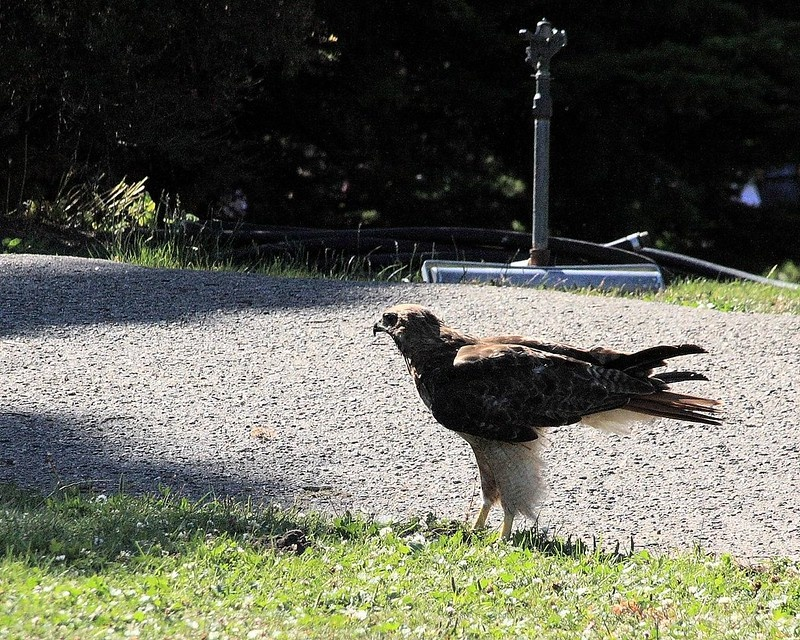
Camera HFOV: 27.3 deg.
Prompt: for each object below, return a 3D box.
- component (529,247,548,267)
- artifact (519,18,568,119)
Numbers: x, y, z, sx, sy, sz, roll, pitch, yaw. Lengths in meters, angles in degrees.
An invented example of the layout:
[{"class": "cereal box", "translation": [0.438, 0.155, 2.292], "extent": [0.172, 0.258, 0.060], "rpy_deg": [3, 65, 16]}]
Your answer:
[{"class": "component", "translation": [1.578, -0.721, 18.751], "extent": [0.187, 0.144, 0.191], "rpy_deg": [0, 5, 3]}, {"class": "artifact", "translation": [1.592, -2.864, 18.746], "extent": [0.488, 1.149, 1.162], "rpy_deg": [4, 7, 4]}]
